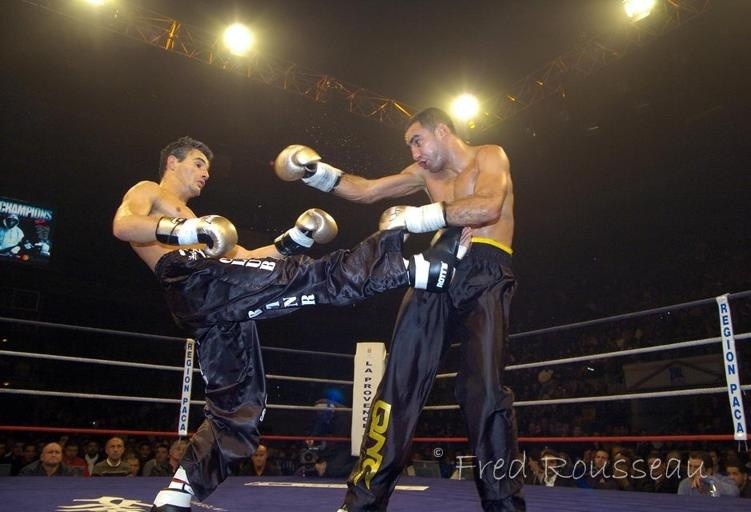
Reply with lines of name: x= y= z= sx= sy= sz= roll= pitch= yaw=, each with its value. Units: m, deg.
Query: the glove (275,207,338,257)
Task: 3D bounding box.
glove: x=-0.598 y=-0.162 z=4.987 sx=0.496 sy=0.371 sz=0.240 roll=-31 pitch=-27 yaw=-9

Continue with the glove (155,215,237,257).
glove: x=-1.397 y=-0.190 z=4.467 sx=0.515 sy=0.337 sz=0.206 roll=5 pitch=-44 yaw=-6

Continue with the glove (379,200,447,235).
glove: x=0.300 y=-0.299 z=4.521 sx=0.416 sy=0.164 sz=0.269 roll=-5 pitch=19 yaw=10
